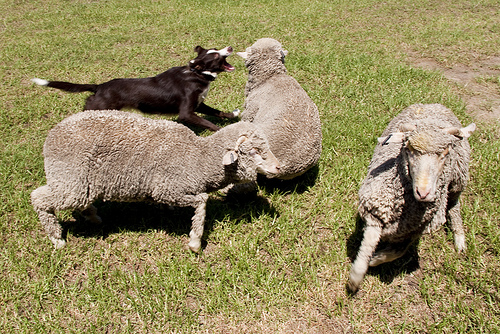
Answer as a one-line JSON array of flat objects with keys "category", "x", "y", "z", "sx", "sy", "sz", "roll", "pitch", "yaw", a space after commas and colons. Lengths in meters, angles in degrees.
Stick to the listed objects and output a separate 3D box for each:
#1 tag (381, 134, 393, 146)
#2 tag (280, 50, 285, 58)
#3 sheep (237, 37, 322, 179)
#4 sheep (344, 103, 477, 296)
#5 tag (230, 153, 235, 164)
[{"category": "tag", "x": 2.045, "y": -0.398, "z": 7.287, "sx": 0.127, "sy": 0.222, "sz": 0.058, "roll": 8, "pitch": 53, "yaw": -26}, {"category": "tag", "x": 0.590, "y": -2.082, "z": 8.853, "sx": 0.040, "sy": 0.107, "sz": 0.058, "roll": -23, "pitch": 2, "yaw": -16}, {"category": "sheep", "x": 0.464, "y": -1.162, "z": 8.838, "sx": 1.607, "sy": 1.419, "sz": 2.892, "roll": -10, "pitch": 51, "yaw": -11}, {"category": "sheep", "x": 2.212, "y": 0.287, "z": 6.828, "sx": 1.577, "sy": 1.925, "sz": 3.205, "roll": 2, "pitch": 39, "yaw": 22}, {"category": "tag", "x": -0.261, "y": -0.115, "z": 7.189, "sx": 0.060, "sy": 0.184, "sz": 0.087, "roll": -6, "pitch": 44, "yaw": -3}]
